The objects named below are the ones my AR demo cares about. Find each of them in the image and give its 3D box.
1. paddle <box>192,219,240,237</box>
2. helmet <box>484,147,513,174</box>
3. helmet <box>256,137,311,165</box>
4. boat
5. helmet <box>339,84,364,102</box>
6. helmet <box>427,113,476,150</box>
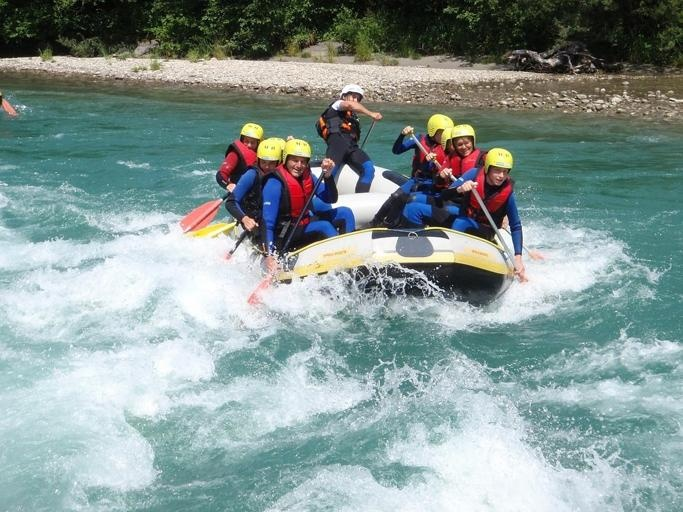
[{"bbox_3d":[-1.846,-0.407,9.698,0.794,0.145,0.160,-10,56,-5],"label":"paddle"},{"bbox_3d":[1.951,-1.173,8.054,0.285,0.276,0.336,6,22,-6],"label":"helmet"},{"bbox_3d":[-0.712,-1.320,8.266,0.585,0.185,0.375,2,10,30],"label":"helmet"},{"bbox_3d":[0.718,-0.195,8.492,2.997,1.300,1.972,4,20,9],"label":"boat"},{"bbox_3d":[0.165,-2.456,9.902,0.316,0.244,0.244,-2,21,-7],"label":"helmet"},{"bbox_3d":[1.458,-1.737,9.198,0.723,0.324,0.474,13,25,37],"label":"helmet"}]
